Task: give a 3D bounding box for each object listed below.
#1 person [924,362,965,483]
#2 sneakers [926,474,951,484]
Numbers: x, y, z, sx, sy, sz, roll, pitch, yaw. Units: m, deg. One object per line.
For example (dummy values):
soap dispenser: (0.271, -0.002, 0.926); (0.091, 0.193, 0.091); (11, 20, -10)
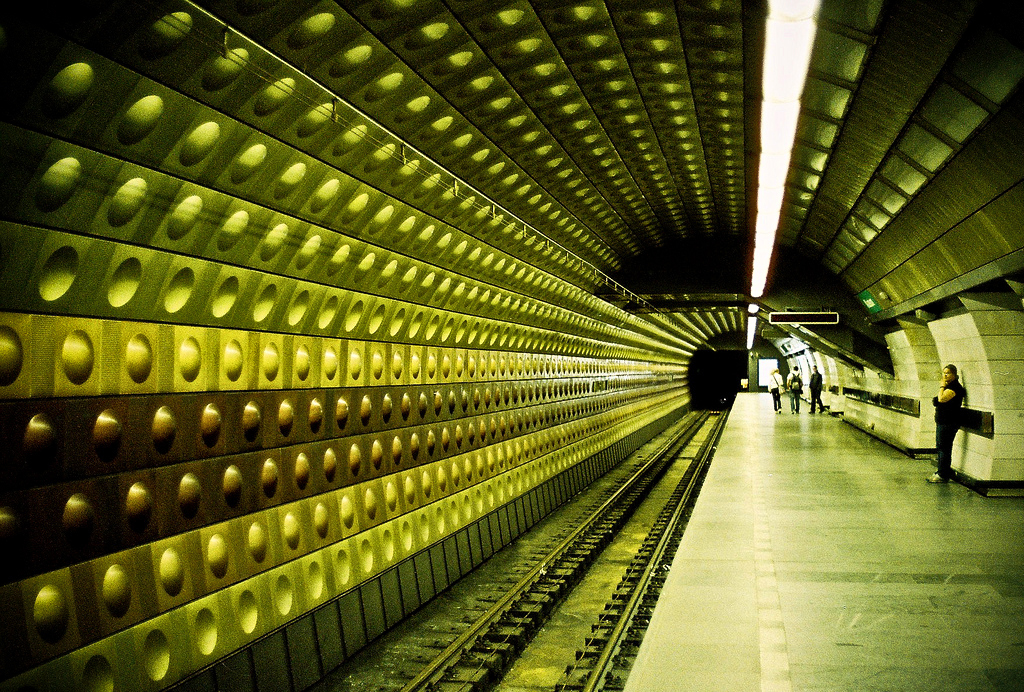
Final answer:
person: (7.846, 1.399, 13.268); (0.558, 2.170, 1.205); (0, 1, 31)
sneakers: (7.813, 2.455, 13.580); (0.449, 0.152, 0.194); (-16, -63, 51)
